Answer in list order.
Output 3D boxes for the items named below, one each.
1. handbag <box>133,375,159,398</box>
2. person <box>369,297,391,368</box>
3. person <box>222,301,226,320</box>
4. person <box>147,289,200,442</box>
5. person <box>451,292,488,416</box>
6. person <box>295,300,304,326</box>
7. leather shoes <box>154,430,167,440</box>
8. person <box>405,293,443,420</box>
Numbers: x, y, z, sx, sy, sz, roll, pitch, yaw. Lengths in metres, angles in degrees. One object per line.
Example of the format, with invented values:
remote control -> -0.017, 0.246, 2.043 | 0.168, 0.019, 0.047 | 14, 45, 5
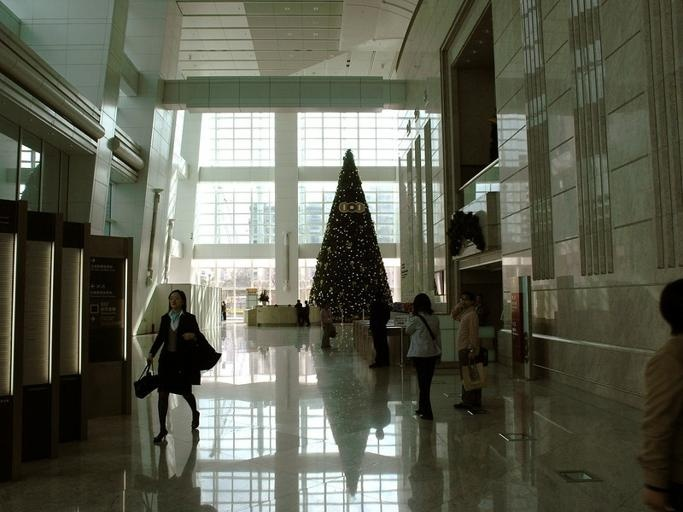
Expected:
handbag -> -2.465, 1.638, 7.286 | 0.280, 0.295, 0.258 | 0, -2, -23
person -> 0.865, 1.633, 12.769 | 0.406, 1.616, 0.647 | -1, -2, 5
person -> -7.600, 3.592, 37.024 | 0.262, 1.068, 1.800 | 0, -2, -13
person -> -2.232, 1.386, 7.719 | 0.678, 1.866, 1.225 | 0, -2, -18
person -> 1.893, 1.379, 8.462 | 0.470, 1.711, 0.612 | -1, -2, 14
person -> -2.118, 2.986, 30.189 | 0.343, 1.296, 0.751 | -1, -2, -8
leather shoes -> -2.276, 2.258, 7.221 | 0.165, 0.099, 0.299 | -1, -1, -16
person -> 1.154, 1.380, 7.980 | 0.449, 1.709, 0.343 | -1, -2, 9
